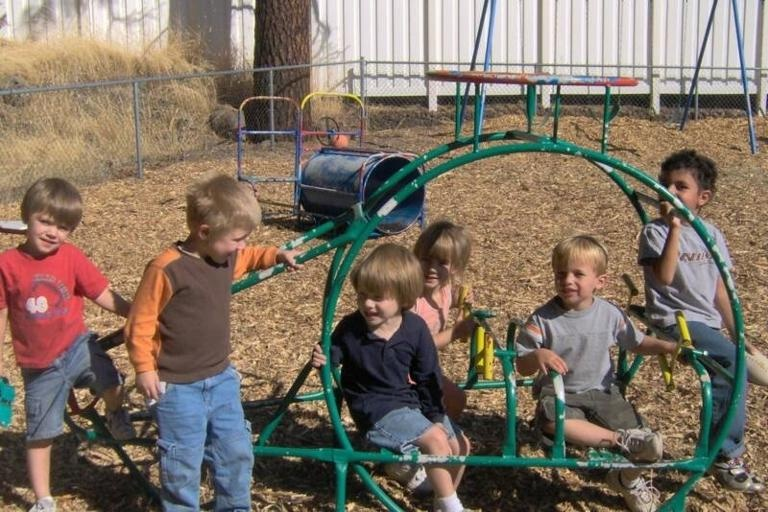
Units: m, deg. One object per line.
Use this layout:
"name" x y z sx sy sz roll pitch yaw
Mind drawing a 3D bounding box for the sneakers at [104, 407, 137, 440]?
"sneakers" -1.598 1.024 5.025 0.105 0.123 0.260 -7 8 -36

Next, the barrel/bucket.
"barrel/bucket" -0.181 -0.716 8.567 0.947 0.847 1.153 -6 10 -41

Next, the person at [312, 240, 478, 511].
"person" 0.076 0.549 4.712 0.776 1.212 0.417 3 7 5

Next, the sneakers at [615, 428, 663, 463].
"sneakers" 1.453 1.075 4.692 0.200 0.177 0.190 -1 7 -21
